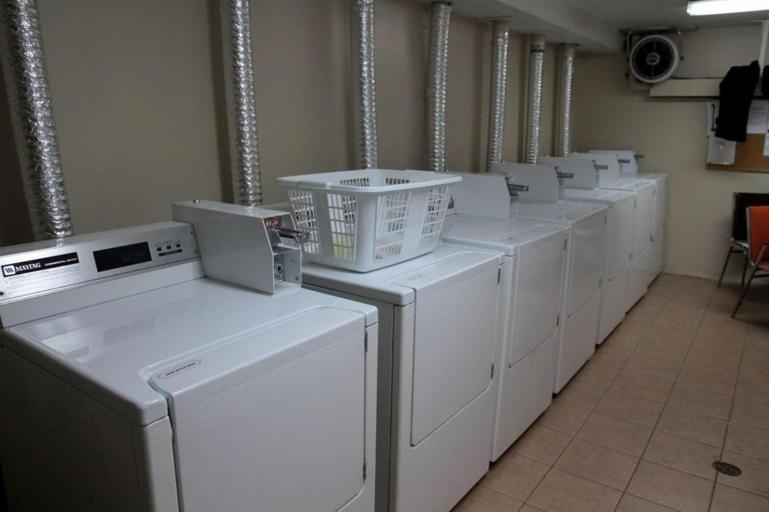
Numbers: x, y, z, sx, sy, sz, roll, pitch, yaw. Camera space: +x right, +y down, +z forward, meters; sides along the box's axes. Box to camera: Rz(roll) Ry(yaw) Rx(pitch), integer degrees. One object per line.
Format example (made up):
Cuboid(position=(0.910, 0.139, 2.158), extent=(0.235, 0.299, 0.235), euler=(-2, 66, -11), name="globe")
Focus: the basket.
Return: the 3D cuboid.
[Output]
Cuboid(position=(-0.069, -0.160, 2.444), extent=(0.575, 0.361, 0.767), euler=(10, 15, 37), name="basket")
